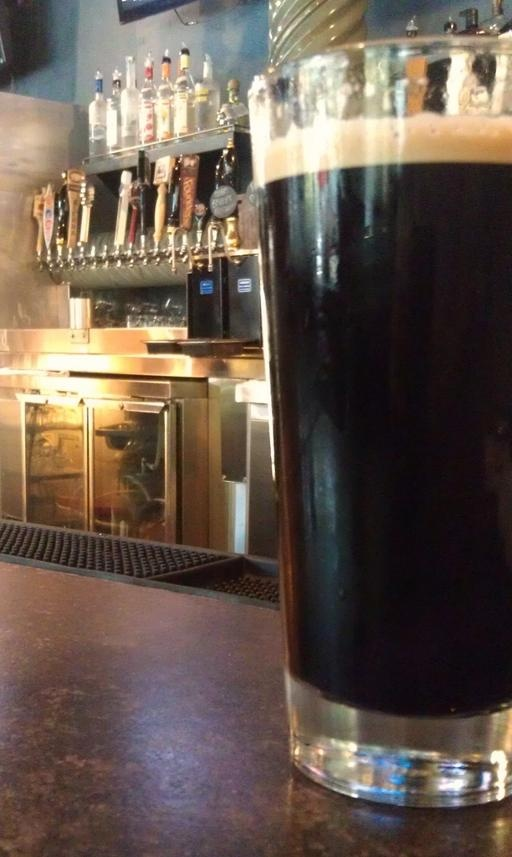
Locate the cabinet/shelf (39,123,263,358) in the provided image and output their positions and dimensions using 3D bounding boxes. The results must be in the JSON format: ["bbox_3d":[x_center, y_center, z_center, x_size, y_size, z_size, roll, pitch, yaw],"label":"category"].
[{"bbox_3d":[-0.632,-1.107,4.344,1.522,1.107,0.755,2,13,29],"label":"cabinet/shelf"}]
